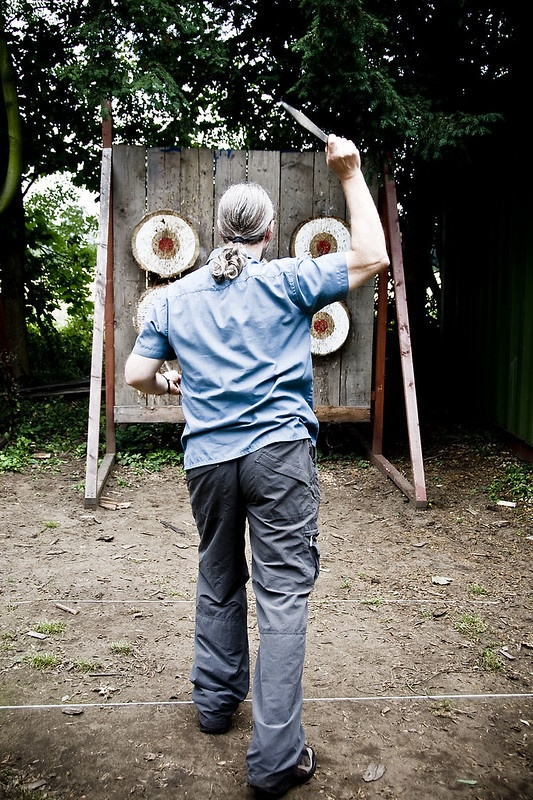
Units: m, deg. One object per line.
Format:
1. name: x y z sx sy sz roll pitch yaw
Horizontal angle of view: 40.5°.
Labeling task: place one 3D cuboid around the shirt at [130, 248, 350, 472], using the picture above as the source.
1. shirt: -0.099 -0.123 2.348 0.710 0.706 0.263 2 10 6
